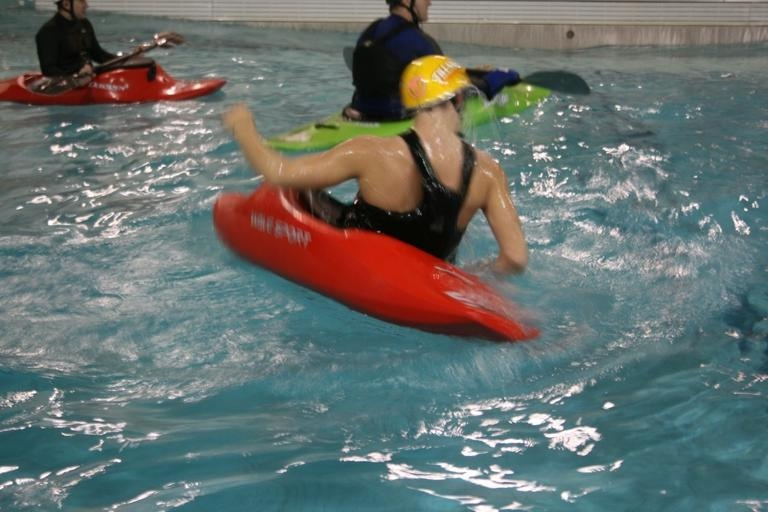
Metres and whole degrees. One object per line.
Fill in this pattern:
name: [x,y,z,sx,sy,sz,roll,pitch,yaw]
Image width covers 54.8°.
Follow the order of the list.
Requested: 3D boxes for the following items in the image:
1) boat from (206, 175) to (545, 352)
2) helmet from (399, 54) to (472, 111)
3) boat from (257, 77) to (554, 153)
boat: [-0.096,0.019,3.752,1.987,0.445,0.567,20,11,13]
helmet: [0.248,-0.834,3.533,0.347,0.238,0.185,-7,19,-2]
boat: [0.493,-1.176,5.825,2.793,0.299,0.751,-10,21,-10]
